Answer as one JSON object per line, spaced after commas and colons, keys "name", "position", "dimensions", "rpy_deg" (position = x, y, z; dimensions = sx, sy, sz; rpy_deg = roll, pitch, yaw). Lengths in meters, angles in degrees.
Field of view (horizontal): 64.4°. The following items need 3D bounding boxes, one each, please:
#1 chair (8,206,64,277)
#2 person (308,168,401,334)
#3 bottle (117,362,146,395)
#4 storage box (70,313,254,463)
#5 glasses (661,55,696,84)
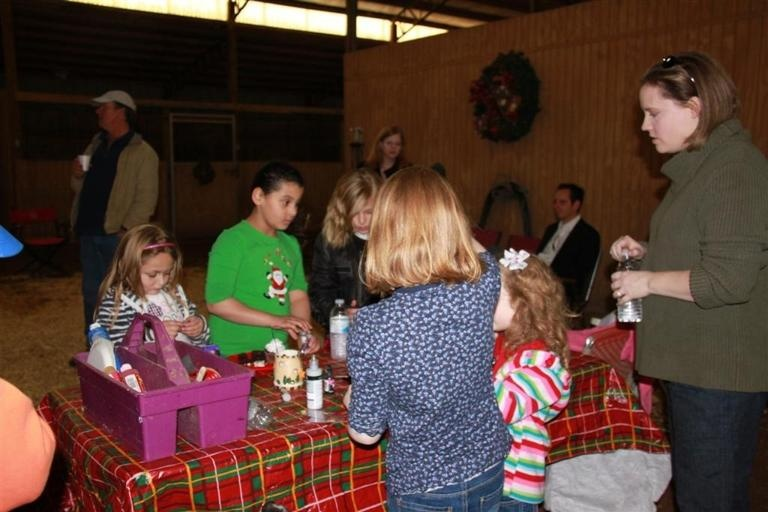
{"name": "chair", "position": [-5.658, -0.234, 10.075], "dimensions": [0.857, 1.077, 0.866], "rpy_deg": [-7, -1, -34]}
{"name": "person", "position": [-0.258, -0.040, 3.747], "dimensions": [0.548, 0.933, 0.248], "rpy_deg": [9, 14, 8]}
{"name": "bottle", "position": [-0.987, 0.482, 2.387], "dimensions": [0.114, 0.052, 0.050], "rpy_deg": [48, -2, 31]}
{"name": "storage box", "position": [-0.916, 0.503, 2.465], "dimensions": [0.470, 0.462, 0.719], "rpy_deg": [-6, 15, -41]}
{"name": "glasses", "position": [1.181, -0.735, 2.443], "dimensions": [0.130, 0.094, 0.048], "rpy_deg": [45, -6, 26]}
